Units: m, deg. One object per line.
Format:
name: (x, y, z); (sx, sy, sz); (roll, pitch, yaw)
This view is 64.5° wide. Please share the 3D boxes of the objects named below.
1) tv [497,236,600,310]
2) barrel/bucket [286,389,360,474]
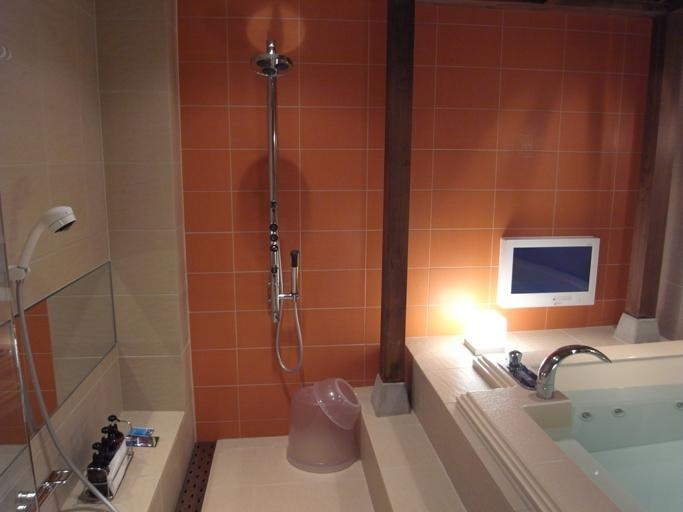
tv: (1.360, 0.093, 3.546); (0.606, 0.477, 0.092); (-1, 23, 11)
barrel/bucket: (-0.131, 1.064, 3.525); (0.470, 0.544, 0.482); (-2, -4, 0)
